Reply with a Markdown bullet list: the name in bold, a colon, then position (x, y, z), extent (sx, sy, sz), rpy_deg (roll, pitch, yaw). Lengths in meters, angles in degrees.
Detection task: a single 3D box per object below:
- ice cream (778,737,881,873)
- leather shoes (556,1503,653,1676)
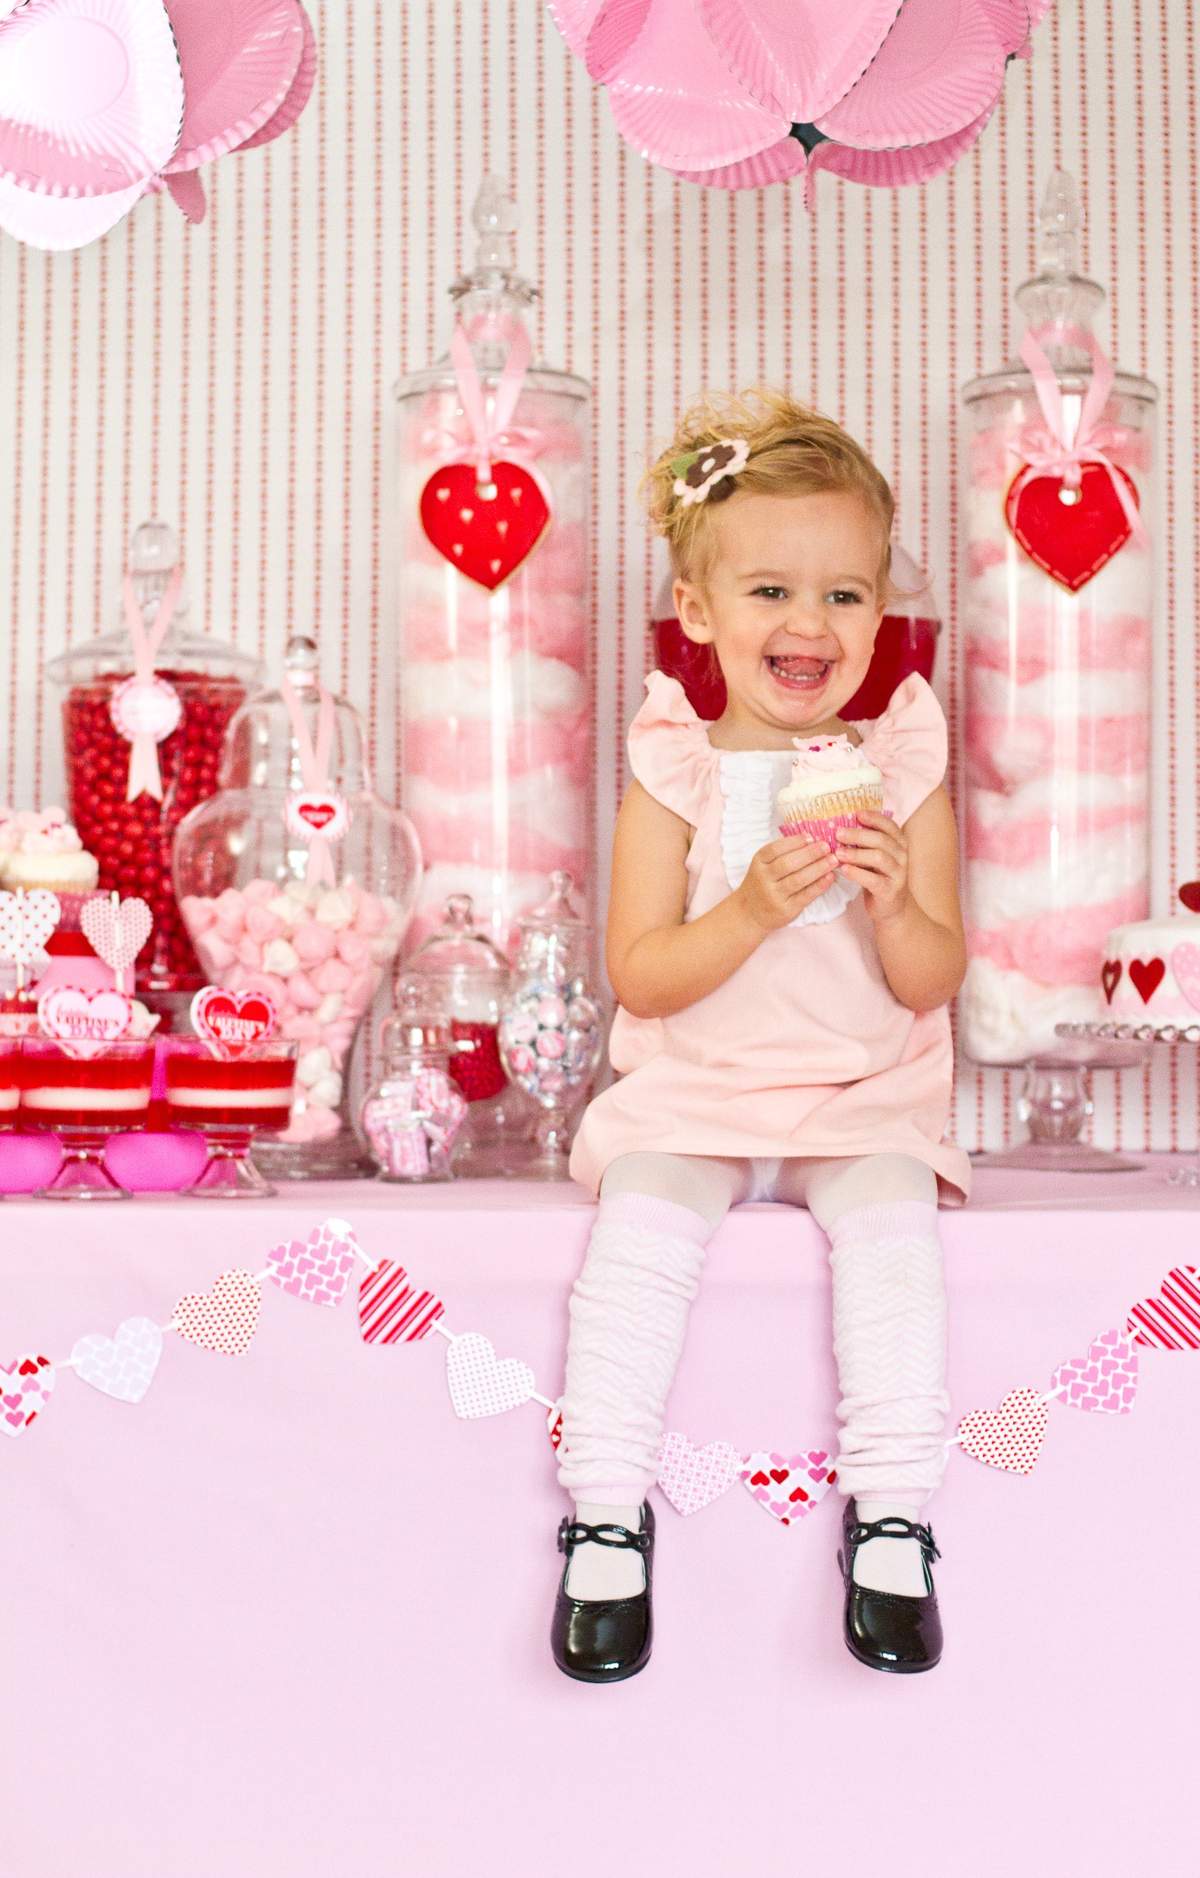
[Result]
- **ice cream**: position (0.148, -0.094, 1.109), extent (0.063, 0.090, 0.042), rpy_deg (-2, -22, 16)
- **leather shoes**: position (0.002, 0.378, 0.998), extent (0.043, 0.040, 0.114), rpy_deg (0, 12, 4)
